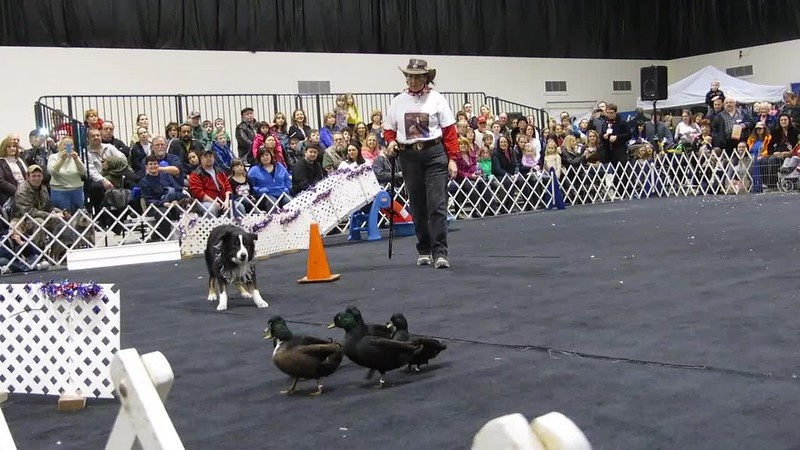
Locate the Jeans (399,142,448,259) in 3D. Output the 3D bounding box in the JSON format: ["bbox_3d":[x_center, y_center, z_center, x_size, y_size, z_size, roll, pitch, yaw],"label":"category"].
[{"bbox_3d":[0.464,-0.367,12.011,0.754,1.864,0.616,-16,-22,30],"label":"Jeans"}]

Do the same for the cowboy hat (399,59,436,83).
[{"bbox_3d":[0.299,-2.456,11.962,0.464,0.395,0.844,-4,12,1],"label":"cowboy hat"}]

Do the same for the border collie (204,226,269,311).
[{"bbox_3d":[-2.302,0.564,10.427,0.785,1.052,1.107,-7,12,-16],"label":"border collie"}]
